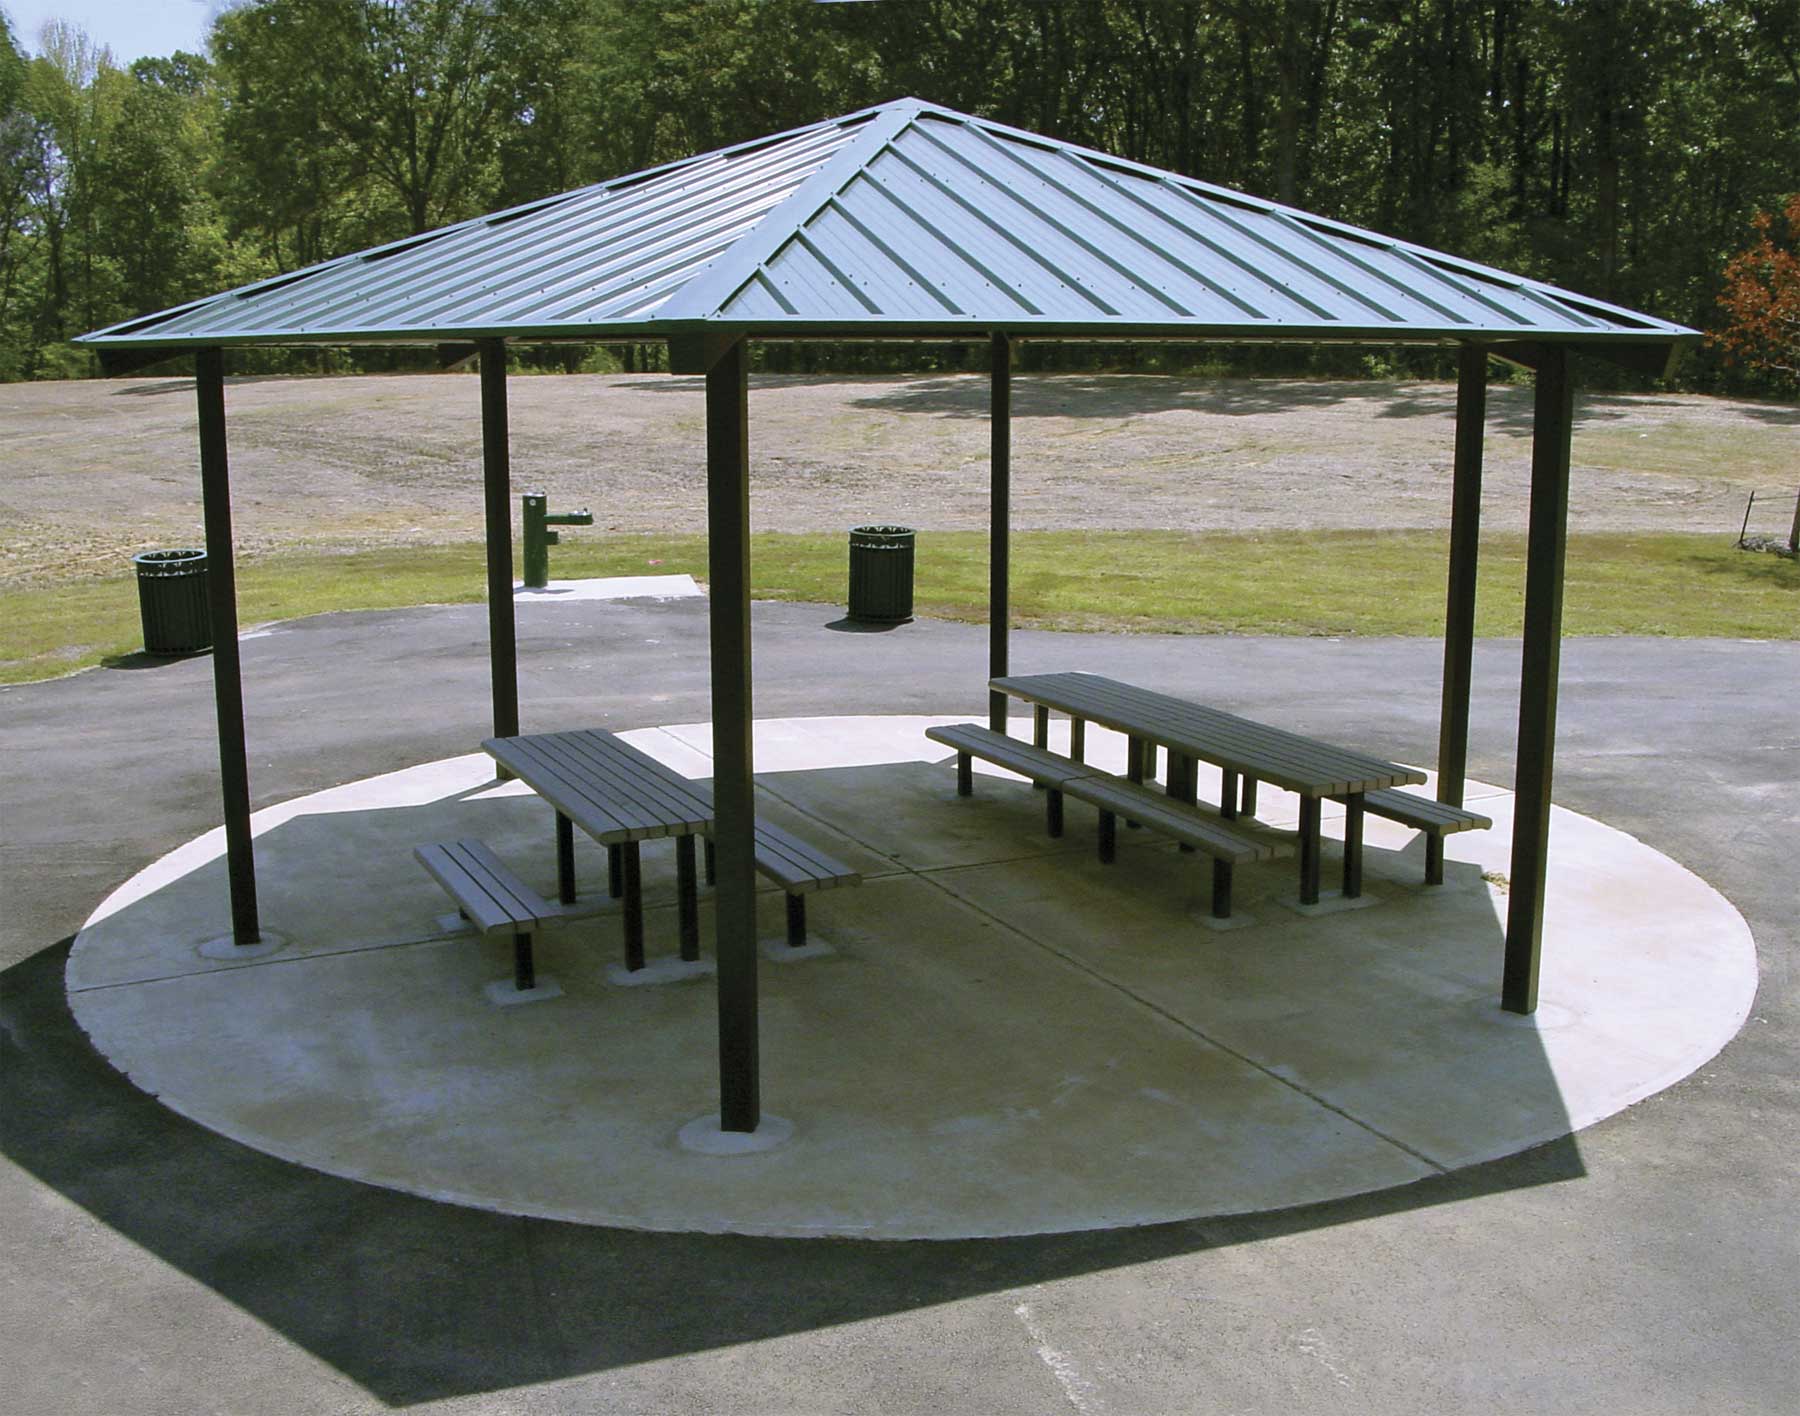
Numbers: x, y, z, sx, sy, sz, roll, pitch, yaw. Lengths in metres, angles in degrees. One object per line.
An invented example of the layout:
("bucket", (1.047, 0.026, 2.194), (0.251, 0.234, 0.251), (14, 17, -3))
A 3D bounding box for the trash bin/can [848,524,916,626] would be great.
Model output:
("trash bin/can", (-0.205, -1.303, 17.136), (0.671, 0.946, 0.500), (-1, 18, -2))

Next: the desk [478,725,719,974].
("desk", (-1.587, 0.625, 8.806), (0.838, 0.537, 2.272), (-8, 15, -26))

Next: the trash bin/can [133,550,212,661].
("trash bin/can", (-6.727, -0.943, 15.707), (0.638, 0.966, 0.488), (-6, 19, -18))
